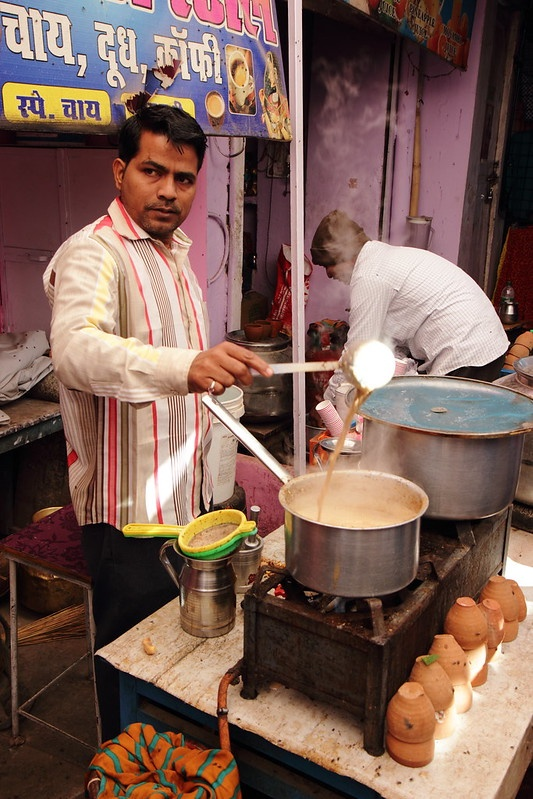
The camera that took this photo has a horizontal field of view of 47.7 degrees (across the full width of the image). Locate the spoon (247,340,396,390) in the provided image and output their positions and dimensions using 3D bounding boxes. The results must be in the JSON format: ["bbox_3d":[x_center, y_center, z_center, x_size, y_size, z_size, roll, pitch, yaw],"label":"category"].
[{"bbox_3d":[0.111,-0.049,1.310,0.339,0.100,0.118,-4,15,25],"label":"spoon"}]

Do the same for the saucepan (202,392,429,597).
[{"bbox_3d":[0.053,0.181,1.375,0.309,0.256,0.614,-20,27,-39],"label":"saucepan"}]

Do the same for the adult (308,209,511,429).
[{"bbox_3d":[0.905,-0.531,3.842,1.170,1.310,0.896,5,33,20],"label":"adult"}]

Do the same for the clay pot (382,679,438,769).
[{"bbox_3d":[0.282,0.629,1.158,0.094,0.131,0.089,0,-1,0],"label":"clay pot"}]

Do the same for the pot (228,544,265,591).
[{"bbox_3d":[-0.052,0.503,1.772,0.110,0.116,0.106,-3,-12,-1],"label":"pot"}]

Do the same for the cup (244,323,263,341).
[{"bbox_3d":[-0.096,-0.520,4.673,0.145,0.118,0.137,-1,31,1],"label":"cup"}]

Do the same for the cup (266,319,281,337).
[{"bbox_3d":[0.067,-0.584,4.825,0.129,0.113,0.119,0,23,0],"label":"cup"}]

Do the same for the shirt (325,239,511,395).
[{"bbox_3d":[0.908,-0.430,3.713,0.920,0.755,1.052,-6,2,-17],"label":"shirt"}]

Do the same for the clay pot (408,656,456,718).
[{"bbox_3d":[0.339,0.571,1.219,0.106,0.113,0.101,-1,5,0],"label":"clay pot"}]

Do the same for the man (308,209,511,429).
[{"bbox_3d":[0.858,-0.536,3.844,1.227,1.324,0.938,9,36,24],"label":"man"}]

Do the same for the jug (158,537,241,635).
[{"bbox_3d":[-0.193,0.485,1.603,0.227,0.225,0.154,8,13,27],"label":"jug"}]

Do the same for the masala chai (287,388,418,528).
[{"bbox_3d":[0.160,0.113,1.290,0.326,0.295,0.316,-2,5,-9],"label":"masala chai"}]

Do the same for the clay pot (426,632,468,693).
[{"bbox_3d":[0.390,0.553,1.327,0.106,0.142,0.104,-3,8,0],"label":"clay pot"}]
